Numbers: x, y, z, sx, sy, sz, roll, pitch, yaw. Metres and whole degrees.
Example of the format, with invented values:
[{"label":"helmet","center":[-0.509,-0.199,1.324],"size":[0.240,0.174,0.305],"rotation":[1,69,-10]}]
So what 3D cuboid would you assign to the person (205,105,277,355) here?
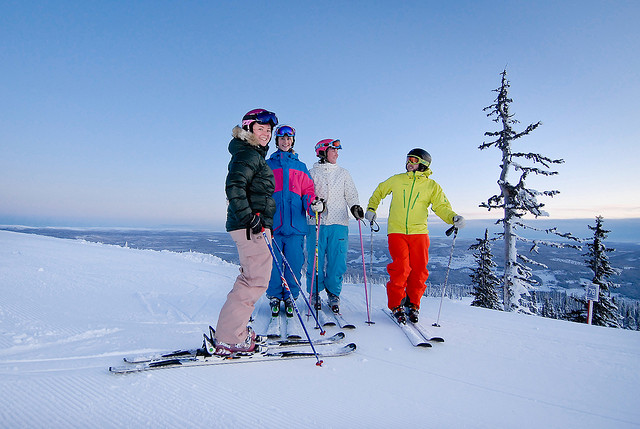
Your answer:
[{"label":"person","center":[-1.177,0.226,7.035],"size":[0.980,3.876,0.538],"rotation":[0,-2,-8]}]

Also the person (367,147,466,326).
[{"label":"person","center":[1.756,0.382,8.508],"size":[1.565,3.326,0.951],"rotation":[0,-2,6]}]

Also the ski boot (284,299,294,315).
[{"label":"ski boot","center":[-0.563,1.708,8.250],"size":[0.141,0.410,0.178],"rotation":[4,3,-16]}]

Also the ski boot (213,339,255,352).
[{"label":"ski boot","center":[-1.311,2.032,6.901],"size":[0.621,0.202,0.081],"rotation":[0,-2,-13]}]

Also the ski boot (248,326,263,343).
[{"label":"ski boot","center":[-1.023,1.907,7.113],"size":[0.151,0.256,0.296],"rotation":[-1,-2,29]}]

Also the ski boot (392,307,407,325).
[{"label":"ski boot","center":[1.487,1.858,8.260],"size":[0.115,0.166,0.286],"rotation":[-22,10,9]}]

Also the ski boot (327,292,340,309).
[{"label":"ski boot","center":[0.285,1.692,8.890],"size":[0.225,0.279,0.330],"rotation":[0,-2,-3]}]

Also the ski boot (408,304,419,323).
[{"label":"ski boot","center":[1.761,1.859,8.364],"size":[0.231,0.272,0.625],"rotation":[1,-12,7]}]
